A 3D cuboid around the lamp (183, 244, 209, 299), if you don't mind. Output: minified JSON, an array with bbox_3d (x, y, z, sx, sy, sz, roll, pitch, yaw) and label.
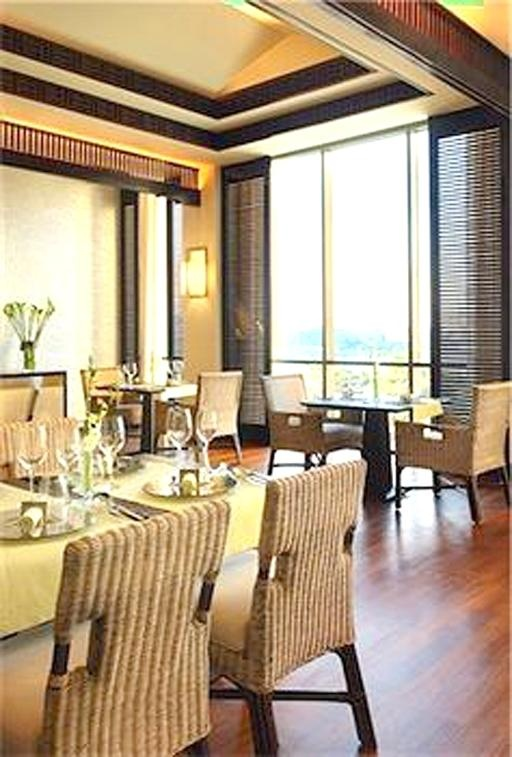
[{"bbox_3d":[-0.737,-1.271,6.951,0.365,0.623,0.127,3,3,42],"label":"lamp"}]

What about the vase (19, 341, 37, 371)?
[{"bbox_3d":[-2.519,-0.252,6.409,0.151,0.315,0.322,1,2,-20],"label":"vase"}]

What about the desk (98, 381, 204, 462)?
[{"bbox_3d":[-1.162,0.346,5.518,0.652,0.500,0.671,-6,-4,27],"label":"desk"}]
